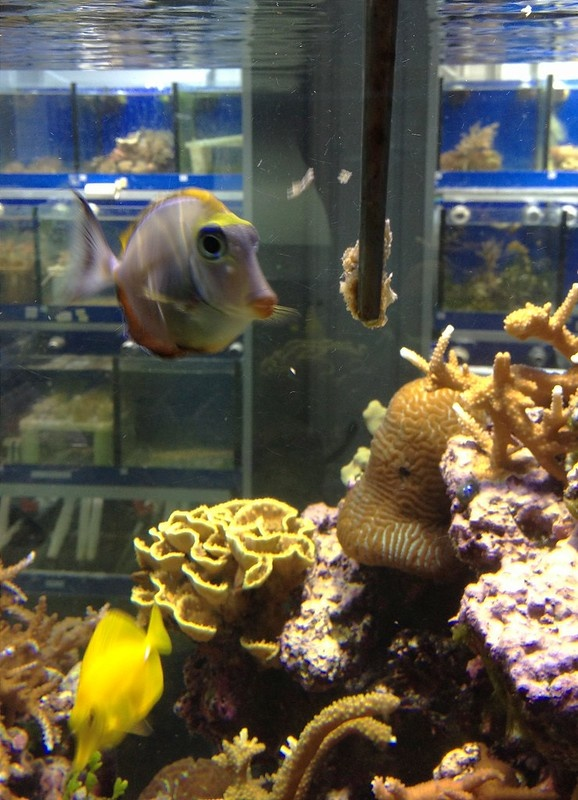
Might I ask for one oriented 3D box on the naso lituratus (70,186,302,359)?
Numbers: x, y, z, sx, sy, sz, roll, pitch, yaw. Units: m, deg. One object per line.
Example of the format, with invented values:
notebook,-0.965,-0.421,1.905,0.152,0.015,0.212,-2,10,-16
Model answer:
naso lituratus,-0.276,-0.266,1.662,0.635,0.342,0.164,12,13,39
